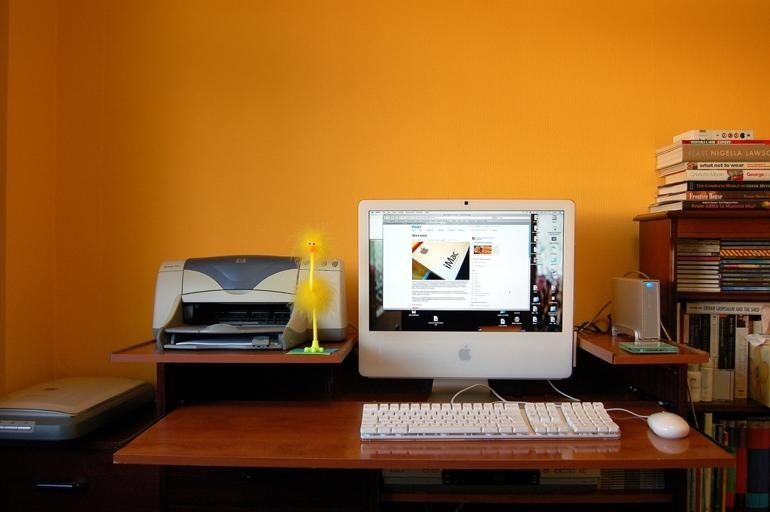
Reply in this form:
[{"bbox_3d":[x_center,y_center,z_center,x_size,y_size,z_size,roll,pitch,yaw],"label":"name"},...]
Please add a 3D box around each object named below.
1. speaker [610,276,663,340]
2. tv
[{"bbox_3d":[0.996,0.212,2.504,0.101,0.226,0.248,-1,3,-3],"label":"speaker"},{"bbox_3d":[0.316,0.141,2.463,0.832,0.699,0.298,0,0,1],"label":"tv"}]
